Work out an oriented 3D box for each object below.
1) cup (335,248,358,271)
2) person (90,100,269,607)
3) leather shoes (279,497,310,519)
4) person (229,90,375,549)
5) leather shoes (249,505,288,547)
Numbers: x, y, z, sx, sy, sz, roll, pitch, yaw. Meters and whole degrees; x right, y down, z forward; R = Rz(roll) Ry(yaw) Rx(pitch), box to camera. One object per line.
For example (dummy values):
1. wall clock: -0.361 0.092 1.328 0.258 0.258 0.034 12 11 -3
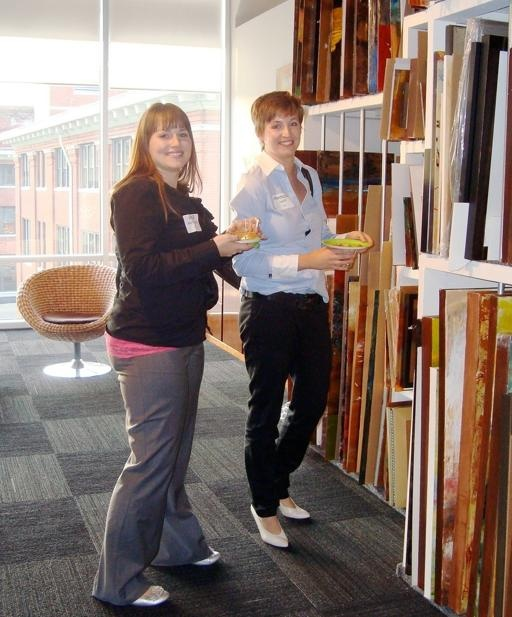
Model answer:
1. cup: 0.301 -0.161 1.741 0.068 0.050 0.067 0 -6 0
2. person: -0.260 0.172 1.607 0.445 1.547 0.444 -1 6 -24
3. leather shoes: 0.153 0.869 2.317 0.064 0.077 0.187 0 -6 -33
4. person: 0.128 0.066 1.925 0.552 1.619 0.531 -2 7 -7
5. leather shoes: 0.050 0.864 2.114 0.077 0.081 0.205 10 10 -31
